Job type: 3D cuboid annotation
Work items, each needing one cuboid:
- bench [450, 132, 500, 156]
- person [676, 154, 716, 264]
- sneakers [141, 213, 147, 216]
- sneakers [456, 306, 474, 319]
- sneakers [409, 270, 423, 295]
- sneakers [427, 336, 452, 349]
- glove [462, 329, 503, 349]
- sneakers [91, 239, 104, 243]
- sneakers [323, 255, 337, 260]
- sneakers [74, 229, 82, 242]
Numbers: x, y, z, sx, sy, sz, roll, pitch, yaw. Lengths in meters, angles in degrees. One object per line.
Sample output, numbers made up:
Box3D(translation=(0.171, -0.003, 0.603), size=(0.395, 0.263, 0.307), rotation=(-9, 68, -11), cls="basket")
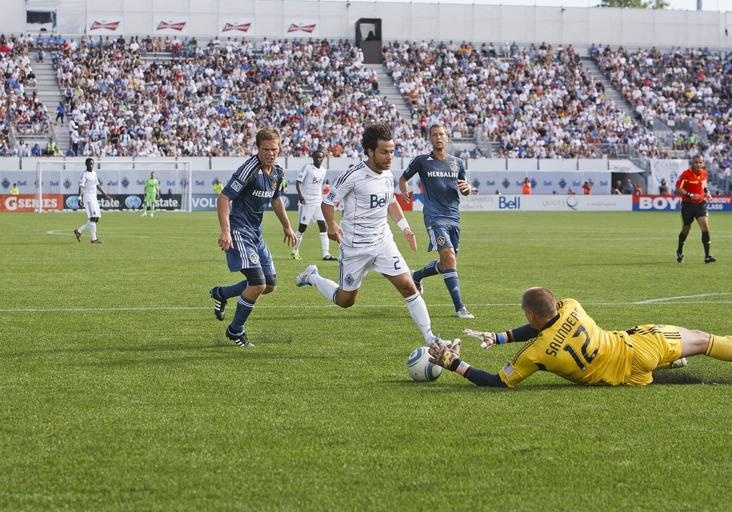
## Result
Box3D(translation=(5.248, -5.406, 64.703), size=(3.231, 0.947, 1.029), rotation=(1, -13, -5), cls="bench")
Box3D(translation=(9.575, -1.361, 38.769), size=(1.043, 3.164, 0.919), rotation=(-1, 4, 13), cls="person")
Box3D(translation=(-9.470, -1.777, 56.502), size=(0.178, 0.116, 0.068), rotation=(1, -1, 5), cls="sneakers")
Box3D(translation=(2.480, 1.410, 33.223), size=(0.232, 0.214, 0.440), rotation=(-6, 5, -44), cls="sneakers")
Box3D(translation=(1.308, 0.736, 34.074), size=(0.234, 0.676, 0.291), rotation=(-11, 23, 7), cls="sneakers")
Box3D(translation=(1.719, 1.983, 30.493), size=(0.450, 0.267, 0.204), rotation=(9, 6, -6), cls="sneakers")
Box3D(translation=(2.701, 1.845, 30.554), size=(0.927, 0.382, 0.398), rotation=(4, 11, 4), cls="glove")
Box3D(translation=(-8.708, -0.508, 42.951), size=(0.311, 0.121, 0.104), rotation=(-1, 5, -6), cls="sneakers")
Box3D(translation=(-1.117, 0.029, 39.730), size=(0.294, 0.114, 0.163), rotation=(-5, 3, 16), cls="sneakers")
Box3D(translation=(-9.358, -0.693, 43.083), size=(0.186, 0.397, 0.136), rotation=(-2, 29, 7), cls="sneakers")
